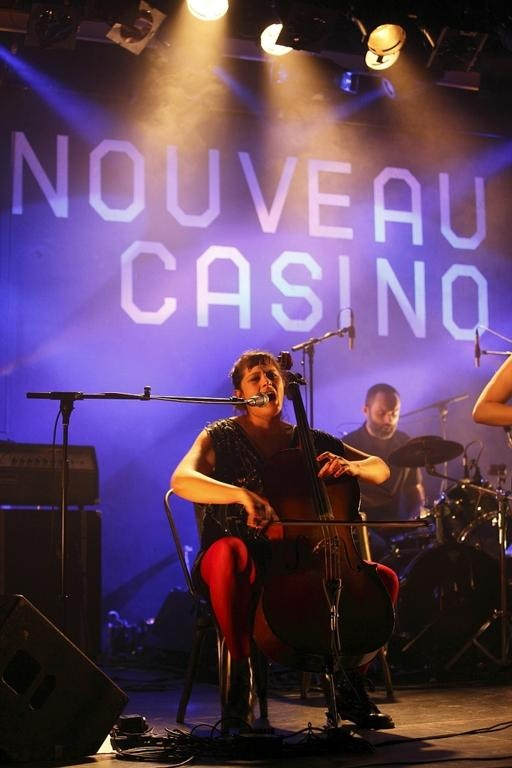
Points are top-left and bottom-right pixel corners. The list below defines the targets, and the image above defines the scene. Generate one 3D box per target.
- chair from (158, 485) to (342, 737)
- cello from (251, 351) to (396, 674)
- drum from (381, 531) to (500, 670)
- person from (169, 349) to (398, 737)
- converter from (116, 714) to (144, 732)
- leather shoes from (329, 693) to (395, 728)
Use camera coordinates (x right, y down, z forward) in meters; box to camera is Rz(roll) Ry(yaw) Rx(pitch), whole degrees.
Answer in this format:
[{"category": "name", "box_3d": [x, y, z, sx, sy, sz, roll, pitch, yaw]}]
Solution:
[{"category": "chair", "box_3d": [0.007, 0.819, 2.578, 0.525, 1.015, 0.426, 3, -5, -28]}, {"category": "cello", "box_3d": [0.145, 0.448, 2.453, 0.326, 0.760, 0.201, 12, -46, -25]}, {"category": "drum", "box_3d": [0.934, 1.188, 4.600, 0.613, 0.634, 0.606, 0, 1, -9]}, {"category": "person", "box_3d": [0.115, 0.465, 2.720, 0.825, 1.146, 0.701, 0, 3, -18]}, {"category": "converter", "box_3d": [-0.372, 1.014, 2.413, 0.101, 0.063, 0.051, 3, -27, -11]}, {"category": "leather shoes", "box_3d": [0.348, 1.078, 2.699, 0.076, 0.085, 0.217, 9, -18, -36]}]
